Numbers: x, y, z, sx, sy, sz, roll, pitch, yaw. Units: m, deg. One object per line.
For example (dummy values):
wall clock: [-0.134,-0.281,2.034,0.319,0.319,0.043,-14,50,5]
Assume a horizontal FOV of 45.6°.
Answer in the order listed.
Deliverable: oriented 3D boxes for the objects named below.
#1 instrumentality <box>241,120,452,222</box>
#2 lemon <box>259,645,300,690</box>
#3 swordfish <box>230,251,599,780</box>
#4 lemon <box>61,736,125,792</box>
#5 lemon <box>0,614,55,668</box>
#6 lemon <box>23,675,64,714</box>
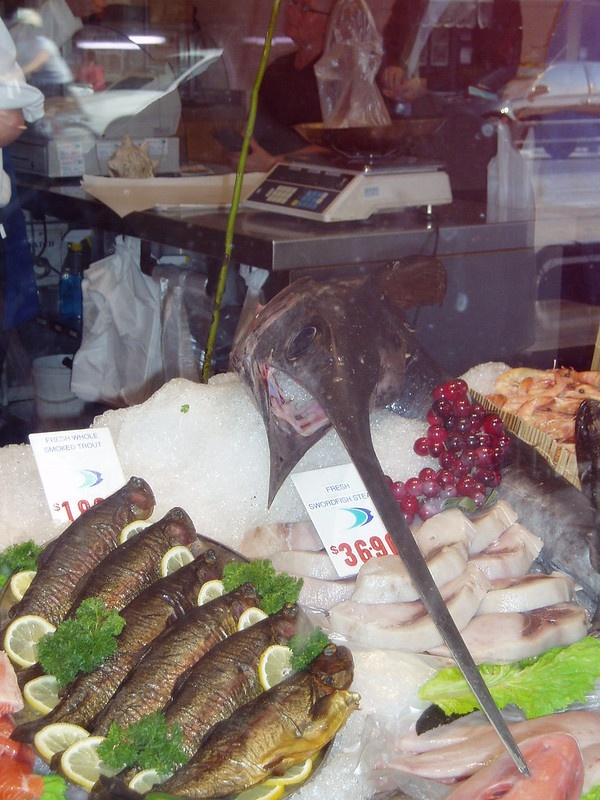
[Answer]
instrumentality: [0.090,-0.443,1.369,0.341,0.155,0.324,-19,26,-36]
lemon: [-0.020,0.224,0.606,0.042,0.019,0.028,-13,17,-36]
swordfish: [0.084,0.053,0.731,0.235,0.113,0.464,-11,53,-14]
lemon: [-0.156,0.265,0.521,0.034,0.030,0.033,-11,16,-27]
lemon: [-0.249,0.217,0.643,0.040,0.026,0.050,-2,14,6]
lemon: [-0.215,0.245,0.595,0.030,0.020,0.024,4,16,26]
